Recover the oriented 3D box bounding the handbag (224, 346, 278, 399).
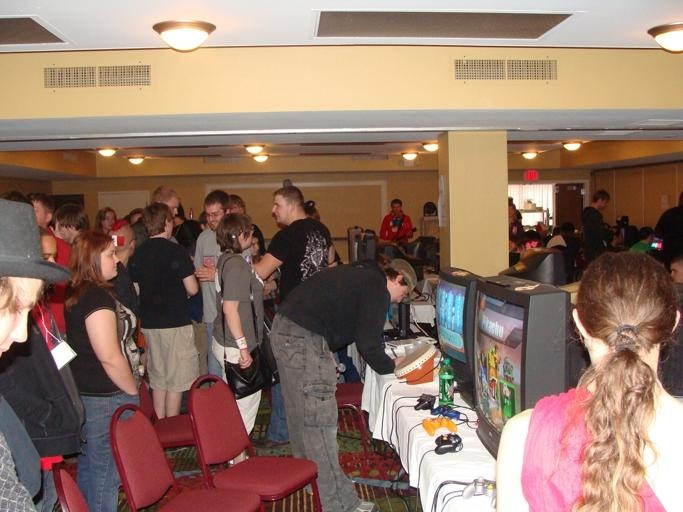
[{"bbox_3d":[-0.582,0.725,3.552,0.338,0.322,0.174,-25,22,-30],"label":"handbag"}]

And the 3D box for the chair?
[{"bbox_3d":[-0.651,0.847,2.967,0.849,1.267,0.714,-8,-6,35],"label":"chair"}]

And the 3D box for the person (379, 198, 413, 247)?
[{"bbox_3d":[0.846,-0.553,8.920,0.495,0.651,0.785,-3,5,5],"label":"person"}]

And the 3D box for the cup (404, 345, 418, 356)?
[{"bbox_3d":[0.438,0.601,3.591,0.080,0.078,0.144,-4,-23,2],"label":"cup"}]
